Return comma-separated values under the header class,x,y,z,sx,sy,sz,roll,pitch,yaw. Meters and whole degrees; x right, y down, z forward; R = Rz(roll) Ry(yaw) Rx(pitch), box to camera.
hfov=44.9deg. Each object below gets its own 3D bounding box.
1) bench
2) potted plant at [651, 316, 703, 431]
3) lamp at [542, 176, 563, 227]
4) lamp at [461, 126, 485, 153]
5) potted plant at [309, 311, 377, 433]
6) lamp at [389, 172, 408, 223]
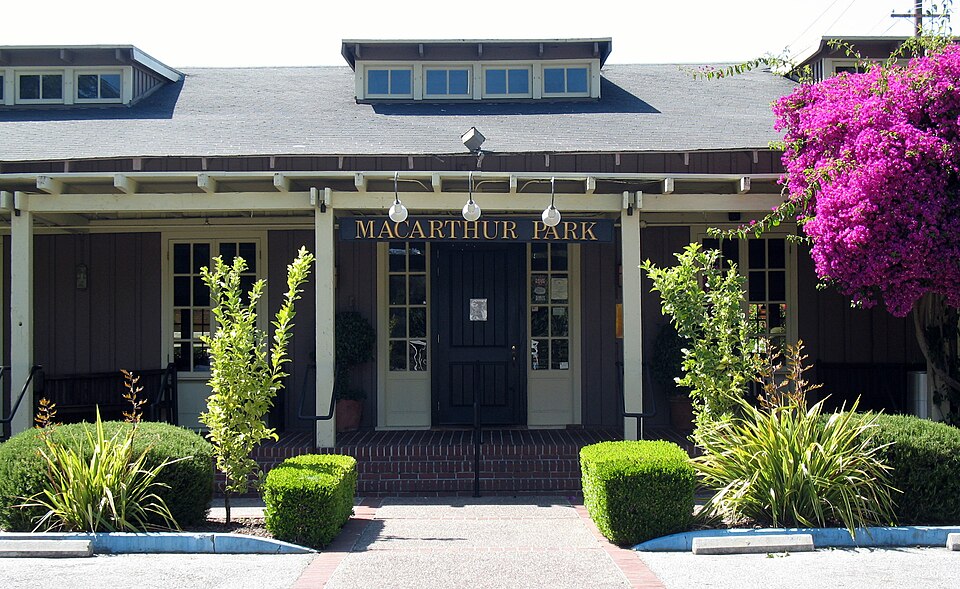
class,x,y,z,sx,sy,sz,roll,pitch,yaw
bench,-6.202,1.715,19.541,2.223,0.982,1.448,-1,-5,-8
potted plant,3.235,1.362,19.695,0.354,2.000,0.686,3,-7,-42
lamp,1.071,-1.420,17.771,0.290,0.790,0.983,-2,-5,4
lamp,-0.111,-2.483,18.744,0.351,0.441,0.505,-2,-5,0
potted plant,-2.104,1.266,19.606,0.731,2.068,0.441,0,-5,-20
lamp,-1.250,-1.478,17.819,0.279,0.766,1.019,-2,-5,-4
